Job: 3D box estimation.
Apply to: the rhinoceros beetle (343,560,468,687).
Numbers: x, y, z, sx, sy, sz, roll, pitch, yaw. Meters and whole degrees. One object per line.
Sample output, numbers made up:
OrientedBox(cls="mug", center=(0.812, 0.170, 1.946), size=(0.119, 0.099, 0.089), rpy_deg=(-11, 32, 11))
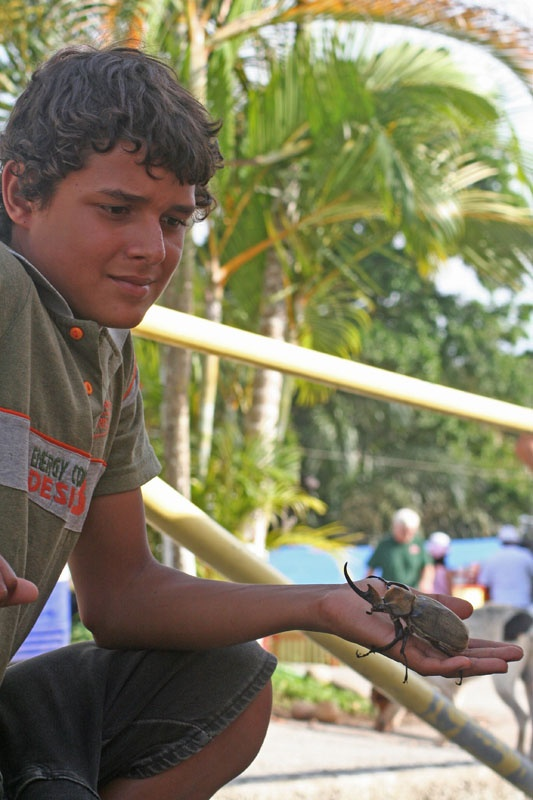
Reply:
OrientedBox(cls="rhinoceros beetle", center=(0.178, 0.287, 1.359), size=(0.199, 0.060, 0.133), rpy_deg=(27, 30, -10))
